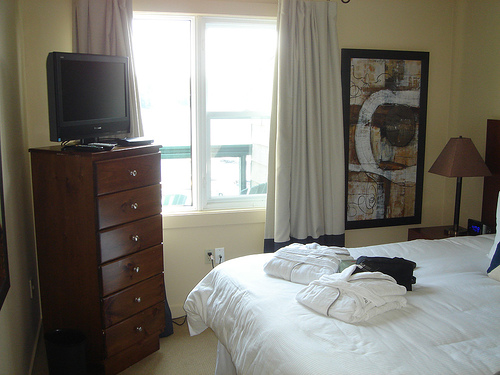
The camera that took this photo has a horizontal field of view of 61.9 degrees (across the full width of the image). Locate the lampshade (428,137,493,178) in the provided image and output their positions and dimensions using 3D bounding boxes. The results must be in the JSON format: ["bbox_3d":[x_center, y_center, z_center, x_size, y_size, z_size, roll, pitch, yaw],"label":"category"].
[{"bbox_3d":[1.796,-0.222,3.552,0.364,0.339,0.372,-1,3,-6],"label":"lampshade"}]

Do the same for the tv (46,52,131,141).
[{"bbox_3d":[-1.067,-0.603,2.737,0.095,0.565,0.589,8,12,34],"label":"tv"}]

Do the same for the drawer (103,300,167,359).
[{"bbox_3d":[-0.820,1.002,2.939,0.288,0.133,0.285,-6,5,38],"label":"drawer"}]

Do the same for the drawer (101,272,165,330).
[{"bbox_3d":[-0.817,0.781,2.898,0.271,0.152,0.342,-1,7,34],"label":"drawer"}]

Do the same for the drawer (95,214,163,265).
[{"bbox_3d":[-0.927,0.310,2.971,0.413,0.242,0.530,11,16,41],"label":"drawer"}]

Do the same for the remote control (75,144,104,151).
[{"bbox_3d":[-1.034,-0.251,2.659,0.210,0.032,0.056,1,12,15],"label":"remote control"}]

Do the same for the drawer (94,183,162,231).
[{"bbox_3d":[-0.910,0.074,2.943,0.389,0.232,0.505,18,23,41],"label":"drawer"}]

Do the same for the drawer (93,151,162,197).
[{"bbox_3d":[-0.775,-0.102,2.906,0.510,0.258,0.293,-8,-5,3],"label":"drawer"}]

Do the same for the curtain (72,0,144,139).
[{"bbox_3d":[-1.084,-0.892,3.161,0.449,1.025,0.158,-7,12,-25],"label":"curtain"}]
